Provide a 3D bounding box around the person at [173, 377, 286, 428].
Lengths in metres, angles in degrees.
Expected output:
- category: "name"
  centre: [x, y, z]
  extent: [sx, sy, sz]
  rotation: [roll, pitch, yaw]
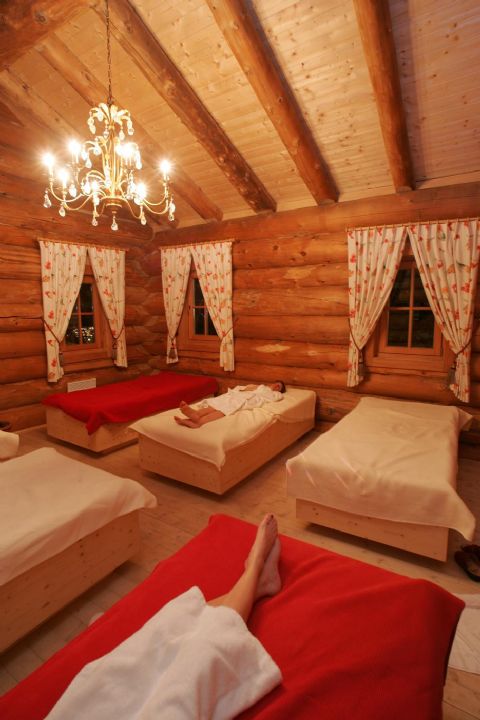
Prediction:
- category: "person"
  centre: [-0.004, 0.320, 4.137]
  extent: [1.163, 0.253, 0.468]
  rotation: [-16, 18, -40]
